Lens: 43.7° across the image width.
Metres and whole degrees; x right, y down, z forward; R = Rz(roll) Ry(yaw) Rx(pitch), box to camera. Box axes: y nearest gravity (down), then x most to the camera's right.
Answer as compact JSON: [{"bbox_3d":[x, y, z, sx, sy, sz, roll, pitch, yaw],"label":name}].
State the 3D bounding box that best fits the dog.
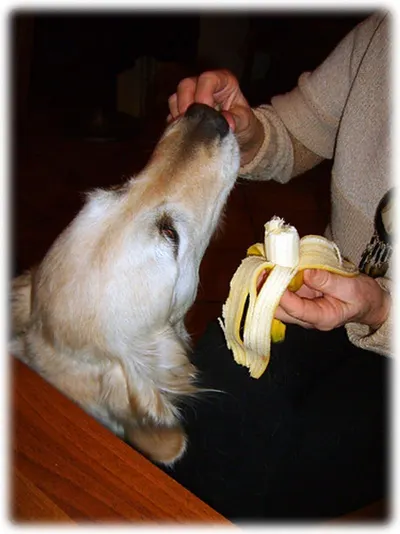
[{"bbox_3d":[-0.081,0.033,1.494,0.691,0.855,0.318,25,16,29],"label":"dog"}]
